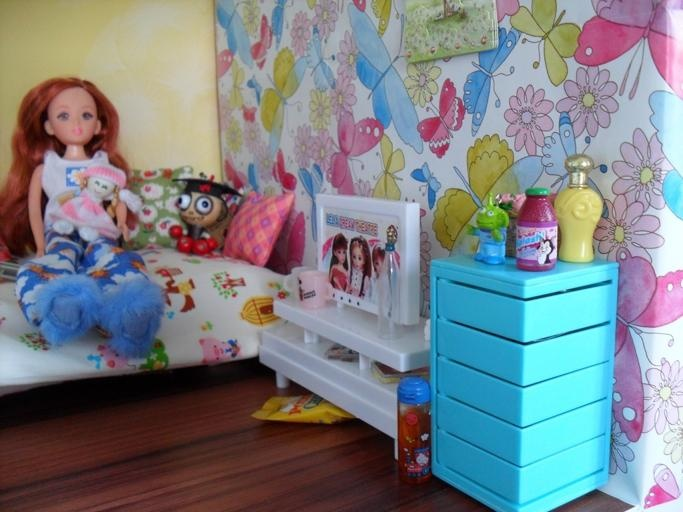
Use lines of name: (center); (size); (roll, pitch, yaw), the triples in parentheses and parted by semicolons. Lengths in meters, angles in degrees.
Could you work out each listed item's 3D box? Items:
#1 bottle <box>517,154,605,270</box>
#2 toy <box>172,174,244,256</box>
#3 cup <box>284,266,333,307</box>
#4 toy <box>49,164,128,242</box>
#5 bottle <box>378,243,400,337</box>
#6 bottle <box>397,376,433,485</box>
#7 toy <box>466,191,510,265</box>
bottle: (0.701, -0.141, 1.636); (0.121, 0.309, 0.138); (11, 18, 43)
toy: (-0.742, -0.207, 3.145); (0.437, 0.492, 0.395); (6, 7, 9)
cup: (-0.131, 0.133, 2.398); (0.196, 0.143, 0.124); (1, 8, 38)
toy: (-1.233, -0.245, 2.721); (0.305, 0.391, 0.127); (25, -35, -16)
bottle: (0.168, 0.117, 1.964); (0.071, 0.323, 0.105); (0, 13, 6)
bottle: (0.237, 0.549, 1.783); (0.111, 0.324, 0.103); (-1, 13, 0)
toy: (0.463, -0.088, 1.709); (0.123, 0.196, 0.158); (-4, 13, -11)
